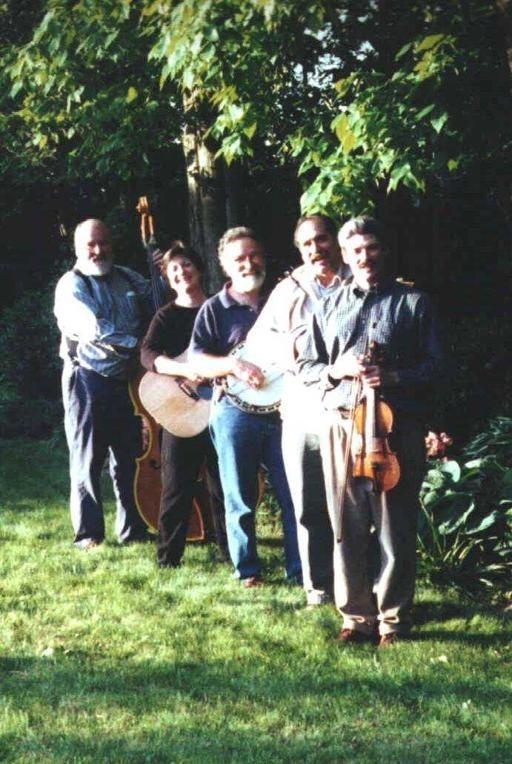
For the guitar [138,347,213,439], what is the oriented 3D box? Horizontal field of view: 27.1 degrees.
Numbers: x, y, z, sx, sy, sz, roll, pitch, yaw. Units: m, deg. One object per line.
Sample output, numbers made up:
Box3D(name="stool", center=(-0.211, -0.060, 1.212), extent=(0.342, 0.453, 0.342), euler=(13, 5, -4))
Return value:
Box3D(name="guitar", center=(-0.407, 0.069, 5.918), extent=(0.296, 0.573, 0.086), euler=(43, 4, 20))
